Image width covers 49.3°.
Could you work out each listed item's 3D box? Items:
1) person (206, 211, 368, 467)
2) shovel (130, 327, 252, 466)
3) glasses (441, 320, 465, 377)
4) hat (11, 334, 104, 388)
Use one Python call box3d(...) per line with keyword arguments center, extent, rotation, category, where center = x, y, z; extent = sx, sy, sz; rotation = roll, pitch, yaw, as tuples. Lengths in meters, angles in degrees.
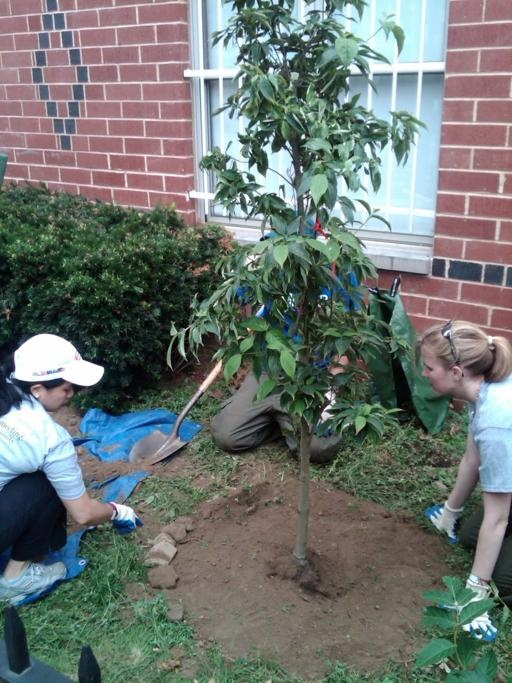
box3d(center=(0.110, 0.142, 3.124), extent=(0.766, 1.170, 1.773), rotation=(-3, 14, -5), category="person")
box3d(center=(-0.356, 0.351, 3.704), extent=(0.326, 0.209, 1.214), rotation=(13, 51, 28), category="shovel")
box3d(center=(0.718, 0.024, 2.058), extent=(0.048, 0.162, 0.129), rotation=(-15, 11, 6), category="glasses")
box3d(center=(-0.793, 0.070, 2.237), extent=(0.321, 0.151, 0.193), rotation=(-4, 13, -20), category="hat")
